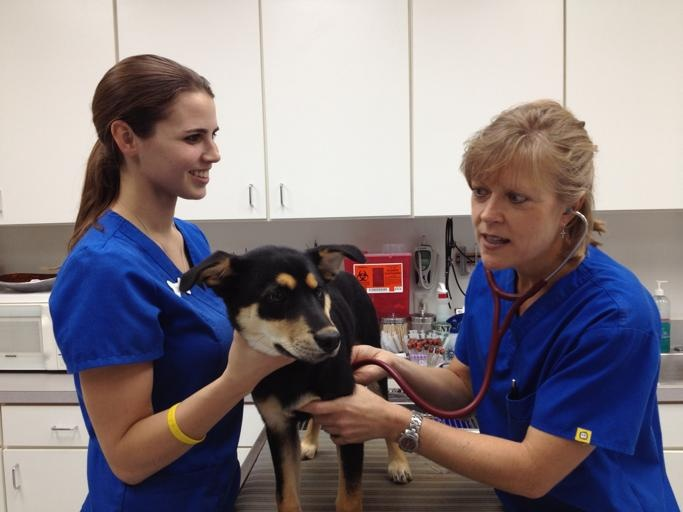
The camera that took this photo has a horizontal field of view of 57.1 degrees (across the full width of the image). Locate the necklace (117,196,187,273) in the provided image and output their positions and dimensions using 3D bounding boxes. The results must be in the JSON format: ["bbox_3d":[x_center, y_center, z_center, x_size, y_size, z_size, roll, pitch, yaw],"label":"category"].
[{"bbox_3d":[-0.625,-0.062,2.041,0.095,0.187,0.205,-9,-18,31],"label":"necklace"}]

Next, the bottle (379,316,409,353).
[{"bbox_3d":[0.271,0.406,3.236,0.150,0.181,0.150,2,6,27],"label":"bottle"}]

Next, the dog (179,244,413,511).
[{"bbox_3d":[-0.078,0.403,2.030,0.407,0.897,0.753,-2,5,33],"label":"dog"}]

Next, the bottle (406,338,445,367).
[{"bbox_3d":[0.413,0.475,3.075,0.114,0.070,0.155,-2,16,6],"label":"bottle"}]

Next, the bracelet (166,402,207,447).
[{"bbox_3d":[-0.479,0.513,1.890,0.026,0.114,0.099,-25,-23,33],"label":"bracelet"}]

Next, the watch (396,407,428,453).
[{"bbox_3d":[0.224,0.551,2.006,0.069,0.125,0.115,11,20,16],"label":"watch"}]
